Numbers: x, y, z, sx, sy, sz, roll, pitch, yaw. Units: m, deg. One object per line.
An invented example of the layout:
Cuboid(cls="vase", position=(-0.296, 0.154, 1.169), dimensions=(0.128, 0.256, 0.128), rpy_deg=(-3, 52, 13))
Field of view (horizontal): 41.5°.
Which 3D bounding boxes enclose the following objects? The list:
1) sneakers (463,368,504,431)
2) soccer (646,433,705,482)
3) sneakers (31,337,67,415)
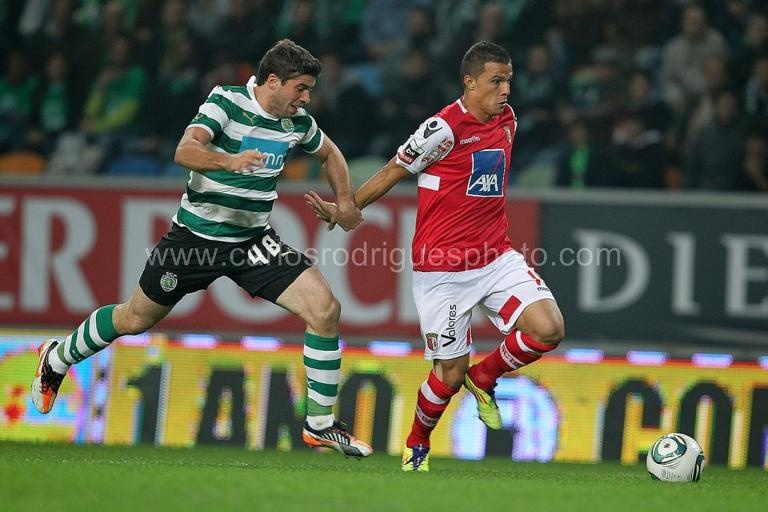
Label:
Cuboid(cls="sneakers", position=(0.777, 1.142, 7.901), dimensions=(0.229, 0.531, 0.195), rpy_deg=(-29, 10, 25))
Cuboid(cls="soccer", position=(2.201, 1.563, 7.656), dimensions=(0.431, 0.474, 0.490), rpy_deg=(-8, -12, 29))
Cuboid(cls="sneakers", position=(-2.685, 0.969, 7.998), dimensions=(0.286, 0.640, 0.214), rpy_deg=(-4, -12, 44))
